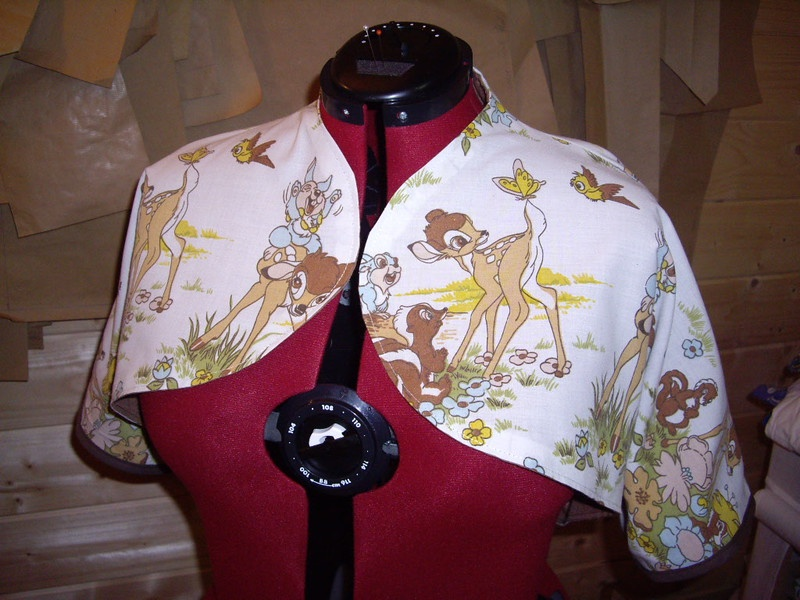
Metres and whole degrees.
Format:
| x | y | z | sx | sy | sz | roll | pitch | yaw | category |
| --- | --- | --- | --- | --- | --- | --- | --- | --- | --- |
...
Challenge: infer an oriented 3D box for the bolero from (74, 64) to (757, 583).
| x | y | z | sx | sy | sz | roll | pitch | yaw | category |
| --- | --- | --- | --- | --- | --- | --- | --- | --- | --- |
| 0.007 | 0.022 | 1.343 | 1.205 | 0.809 | 0.683 | 6 | 14 | 17 | bolero |
